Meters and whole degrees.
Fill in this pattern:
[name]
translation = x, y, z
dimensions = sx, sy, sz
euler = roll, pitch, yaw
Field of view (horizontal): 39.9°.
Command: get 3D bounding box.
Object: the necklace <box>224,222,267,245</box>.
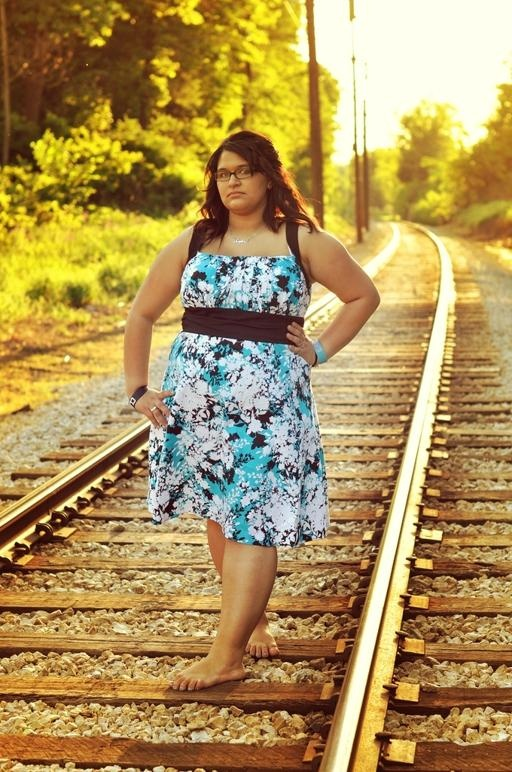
[necklace]
translation = -0.032, -0.431, 2.018
dimensions = 0.125, 0.058, 0.065
euler = -2, 6, 14

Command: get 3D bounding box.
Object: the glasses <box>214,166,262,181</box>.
[glasses]
translation = -0.055, -0.603, 2.009
dimensions = 0.118, 0.047, 0.046
euler = -3, 6, 3

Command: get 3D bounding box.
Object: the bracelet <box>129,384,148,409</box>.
[bracelet]
translation = -0.368, 0.032, 2.155
dimensions = 0.053, 0.065, 0.021
euler = 23, 9, -38

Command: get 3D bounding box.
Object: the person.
[person]
translation = -0.006, 0.055, 2.110
dimensions = 0.789, 1.600, 0.371
euler = -4, 7, -3
